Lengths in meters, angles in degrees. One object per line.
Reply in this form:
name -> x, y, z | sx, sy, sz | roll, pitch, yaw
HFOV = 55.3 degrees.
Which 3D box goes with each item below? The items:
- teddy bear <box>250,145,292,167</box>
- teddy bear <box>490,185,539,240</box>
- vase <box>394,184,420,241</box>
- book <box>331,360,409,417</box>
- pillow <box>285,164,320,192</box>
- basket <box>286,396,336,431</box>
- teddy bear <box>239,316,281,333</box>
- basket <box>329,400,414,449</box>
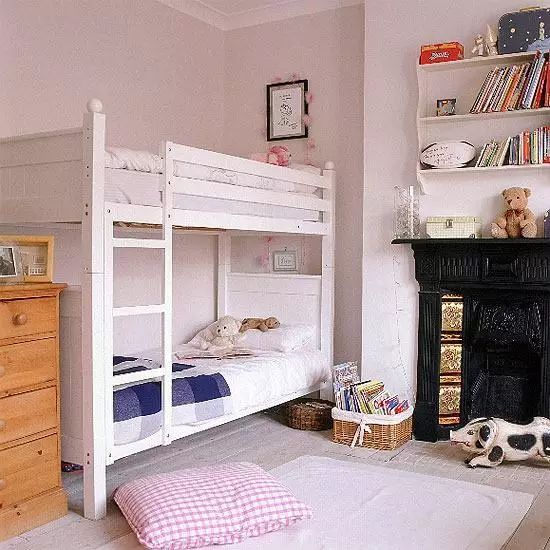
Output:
teddy bear -> 0.012, -0.849, 3.781 | 0.335, 0.147, 0.208 | -4, 16, -19
teddy bear -> 1.352, -0.353, 2.991 | 0.259, 0.268, 0.225 | -2, 11, 29
vase -> 0.801, -0.365, 3.318 | 0.175, 0.335, 0.175 | -12, -26, 38
book -> 0.568, 0.677, 3.187 | 0.292, 0.122, 0.389 | 3, 4, 40
pillow -> 0.206, -0.686, 3.707 | 0.210, 0.255, 0.057 | 0, -17, -29
basket -> 0.208, 0.925, 3.508 | 0.226, 0.078, 0.213 | 3, 4, 41
teddy bear -> -0.120, 0.358, 3.862 | 0.196, 0.065, 0.135 | 3, -4, 12
basket -> 0.567, 0.894, 3.156 | 0.355, 0.119, 0.252 | 0, 1, 15
